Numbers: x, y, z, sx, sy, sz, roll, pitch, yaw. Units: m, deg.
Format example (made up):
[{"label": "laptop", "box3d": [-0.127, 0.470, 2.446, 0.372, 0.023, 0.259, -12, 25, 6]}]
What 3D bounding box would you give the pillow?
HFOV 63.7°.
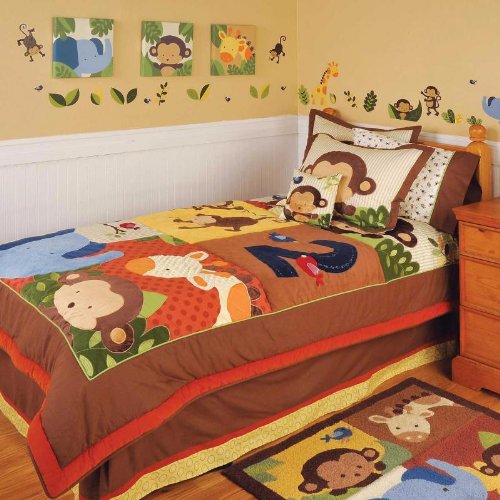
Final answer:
[{"label": "pillow", "box3d": [0.777, -0.416, 2.174, 1.090, 0.456, 0.639, 21, 38, 38]}]
